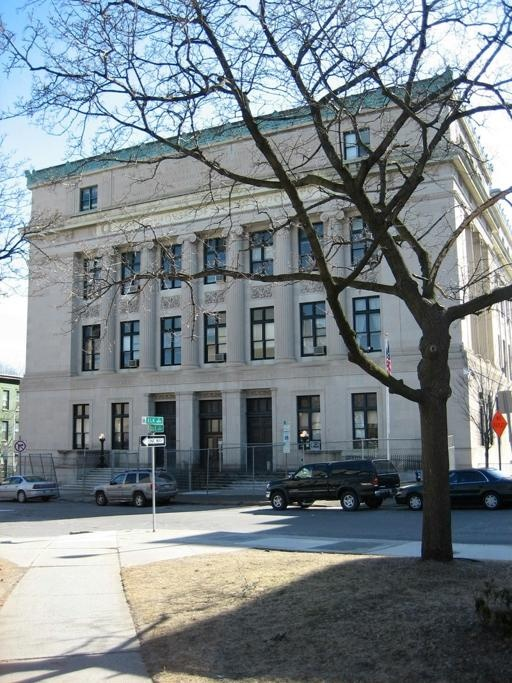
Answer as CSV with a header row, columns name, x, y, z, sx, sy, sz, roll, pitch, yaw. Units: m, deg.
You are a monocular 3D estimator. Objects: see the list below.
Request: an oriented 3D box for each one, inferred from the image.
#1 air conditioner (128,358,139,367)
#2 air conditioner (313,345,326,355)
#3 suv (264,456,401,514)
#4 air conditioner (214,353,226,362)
name,x,y,z,sx,sy,sz,roll,pitch,yaw
air conditioner,-7.671,1.371,45.812,0.546,0.413,0.487,-2,-9,14
air conditioner,3.502,0.495,39.432,0.966,0.452,0.642,-2,-5,10
suv,2.678,5.139,25.888,4.295,1.435,2.080,-4,-10,34
air conditioner,-2.029,0.995,42.682,0.828,0.644,0.425,-3,-18,14
